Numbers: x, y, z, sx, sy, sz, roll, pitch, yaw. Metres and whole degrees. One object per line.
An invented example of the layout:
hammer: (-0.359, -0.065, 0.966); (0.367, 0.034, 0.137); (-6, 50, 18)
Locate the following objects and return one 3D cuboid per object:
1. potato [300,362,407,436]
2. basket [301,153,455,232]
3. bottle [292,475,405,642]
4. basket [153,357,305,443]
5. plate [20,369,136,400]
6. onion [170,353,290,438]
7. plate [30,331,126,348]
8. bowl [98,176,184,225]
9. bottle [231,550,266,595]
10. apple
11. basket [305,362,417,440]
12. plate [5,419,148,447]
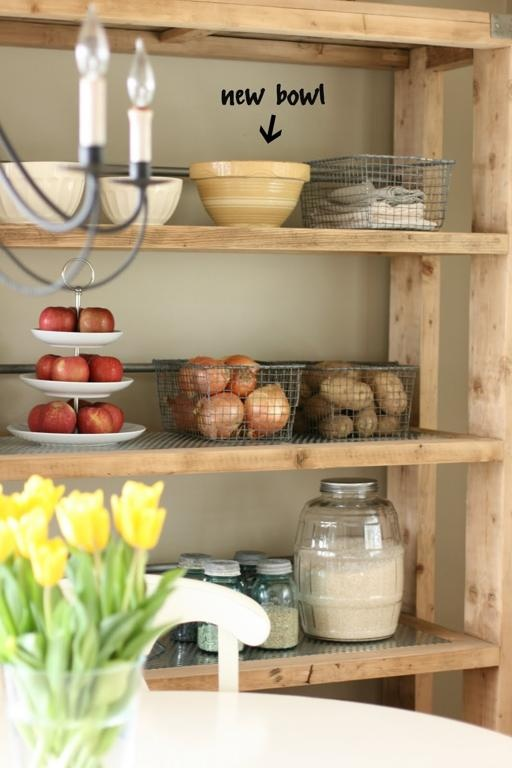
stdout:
potato: (0.219, 0.043, 1.644); (0.258, 0.162, 0.144); (-1, -2, 5)
basket: (0.304, -0.445, 1.675); (0.363, 0.156, 0.235); (-2, 6, -17)
bottle: (0.208, 0.401, 1.602); (0.241, 0.355, 0.106); (-1, -2, 2)
basket: (-0.072, 0.036, 1.598); (0.192, 0.137, 0.272); (1, -3, -22)
plate: (-0.358, 0.008, 1.402); (0.162, 0.045, 0.176); (1, -2, -45)
onion: (-0.042, 0.029, 1.514); (0.182, 0.151, 0.249); (-2, 5, -21)
plate: (-0.344, -0.090, 1.374); (0.106, 0.032, 0.128); (-2, -2, 42)
bowl: (-0.236, -0.373, 1.447); (0.176, 0.097, 0.171); (1, 21, 0)
bottle: (-0.017, 0.434, 1.644); (0.071, 0.104, 0.069); (0, -5, 0)
apple: (-0.322, -0.032, 1.437); (0.242, 0.309, 0.235); (1, 3, -7)
basket: (0.247, 0.039, 1.650); (0.202, 0.118, 0.196); (-1, 3, -6)
plate: (-0.370, 0.104, 1.450); (0.277, 0.041, 0.230); (-1, -1, -6)
